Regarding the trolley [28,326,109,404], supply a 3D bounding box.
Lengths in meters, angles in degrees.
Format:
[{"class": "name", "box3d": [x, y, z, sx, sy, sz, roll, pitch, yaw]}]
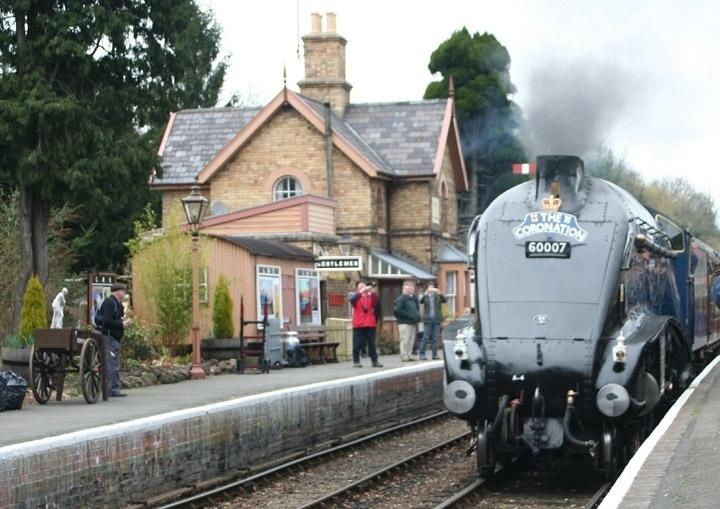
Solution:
[{"class": "trolley", "box3d": [-5.082, 1.874, 21.460, 1.308, 1.300, 1.852, -2, -9, 5]}]

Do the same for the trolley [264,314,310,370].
[{"class": "trolley", "box3d": [-1.685, 1.815, 28.516, 0.933, 1.215, 1.687, -5, 3, 1]}]

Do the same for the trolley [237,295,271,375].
[{"class": "trolley", "box3d": [-2.445, 1.575, 27.797, 0.937, 1.848, 1.178, 0, -2, -16]}]

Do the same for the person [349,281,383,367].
[{"class": "person", "box3d": [0.148, 1.362, 27.655, 0.961, 2.117, 1.010, 8, 5, -1]}]
